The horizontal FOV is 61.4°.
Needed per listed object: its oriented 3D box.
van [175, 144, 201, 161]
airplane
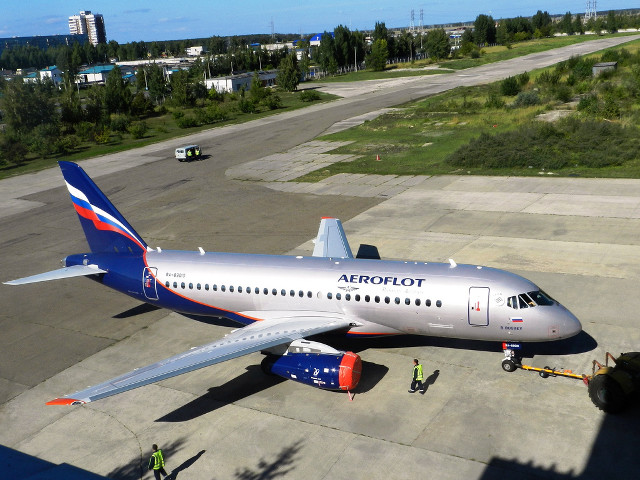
[{"bbox_3d":[-21.248,-14.647,90.453,3.772,1.598,2.648,-21,31,-39],"label":"van"},{"bbox_3d":[-2.174,3.616,34.729,26.310,7.624,22.218,4,24,18],"label":"airplane"}]
